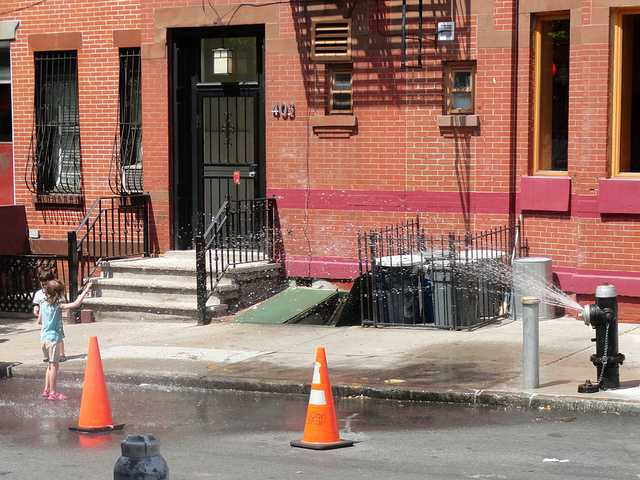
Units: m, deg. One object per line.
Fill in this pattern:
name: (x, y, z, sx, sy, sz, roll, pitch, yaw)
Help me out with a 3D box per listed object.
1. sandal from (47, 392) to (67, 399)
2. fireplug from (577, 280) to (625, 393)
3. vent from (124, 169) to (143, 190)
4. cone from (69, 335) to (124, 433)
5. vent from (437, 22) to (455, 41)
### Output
sandal: (-3.242, 1.931, 15.537, 0.220, 0.089, 0.072, 0, 2, -7)
fireplug: (3.390, 1.117, 14.902, 0.643, 1.205, 0.634, 1, 3, 40)
vent: (-3.200, -1.055, 21.730, 0.350, 0.351, 0.209, -1, 11, 8)
cone: (-2.536, 1.636, 14.149, 0.525, 1.021, 0.444, -13, 15, -42)
vent: (1.947, -3.215, 19.191, 0.309, 0.295, 0.045, 2, 0, 23)
